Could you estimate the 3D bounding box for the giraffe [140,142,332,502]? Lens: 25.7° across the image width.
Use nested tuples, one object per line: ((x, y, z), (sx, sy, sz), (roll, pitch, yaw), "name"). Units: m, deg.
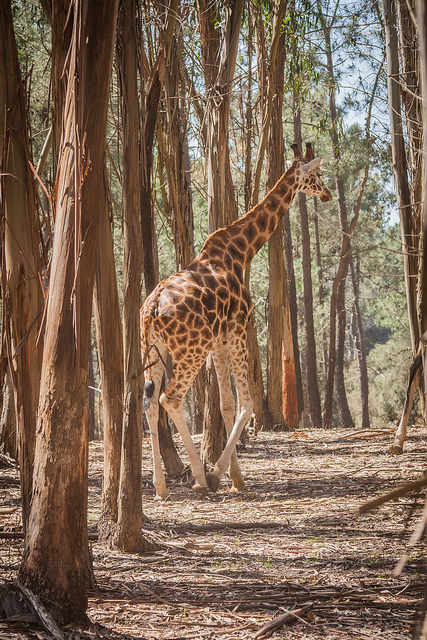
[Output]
((0.136, -0.122, 6.710), (1.192, 2.737, 2.446), (1, -3, 6), "giraffe")
